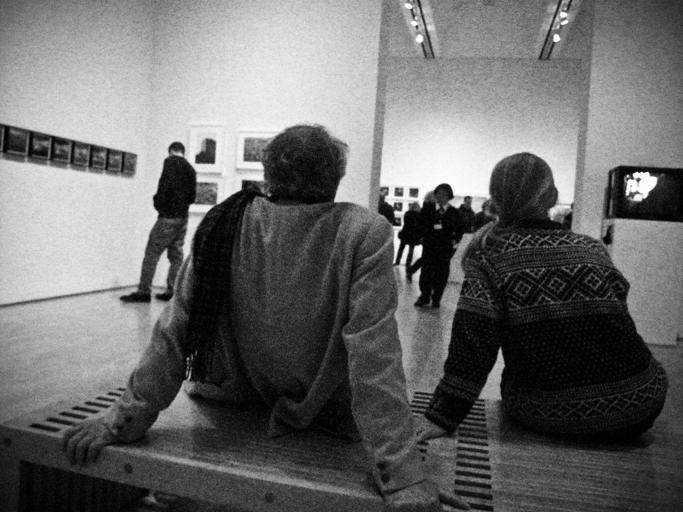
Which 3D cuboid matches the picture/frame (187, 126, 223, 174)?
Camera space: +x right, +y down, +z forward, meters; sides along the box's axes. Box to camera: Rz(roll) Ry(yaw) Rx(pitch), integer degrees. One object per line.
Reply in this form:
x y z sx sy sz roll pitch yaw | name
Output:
-1.229 -0.976 4.602 0.019 0.337 0.321 8 10 19 | picture/frame

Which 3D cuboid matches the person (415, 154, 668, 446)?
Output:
0.916 0.154 2.321 0.929 1.199 1.109 -3 -1 40 | person

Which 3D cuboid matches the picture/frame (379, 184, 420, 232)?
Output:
0.959 -0.799 8.238 0.864 0.849 0.612 2 4 21 | picture/frame

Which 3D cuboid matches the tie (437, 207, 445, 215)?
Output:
1.270 -0.579 6.472 0.105 0.097 0.025 3 2 22 | tie
